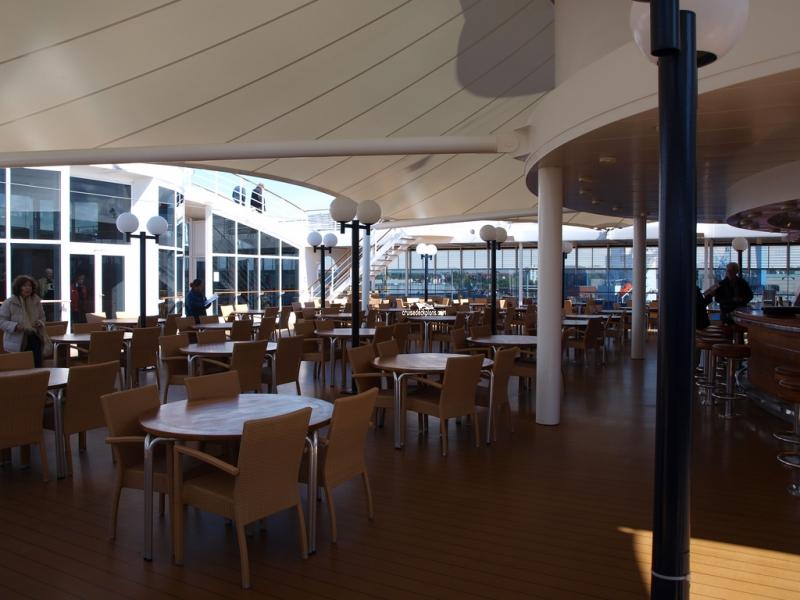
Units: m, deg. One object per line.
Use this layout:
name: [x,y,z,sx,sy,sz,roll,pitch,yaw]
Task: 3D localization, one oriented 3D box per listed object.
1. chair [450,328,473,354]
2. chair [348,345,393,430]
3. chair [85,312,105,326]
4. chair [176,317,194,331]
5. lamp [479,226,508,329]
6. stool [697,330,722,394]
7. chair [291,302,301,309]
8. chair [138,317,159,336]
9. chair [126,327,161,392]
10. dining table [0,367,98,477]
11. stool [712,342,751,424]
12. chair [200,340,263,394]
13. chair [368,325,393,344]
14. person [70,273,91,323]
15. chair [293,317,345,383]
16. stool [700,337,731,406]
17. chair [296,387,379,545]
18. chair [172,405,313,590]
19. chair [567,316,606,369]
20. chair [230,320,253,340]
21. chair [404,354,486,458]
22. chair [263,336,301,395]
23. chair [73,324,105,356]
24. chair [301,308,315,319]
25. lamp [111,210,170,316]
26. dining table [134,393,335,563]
chair: [0.964,0.631,10.308,0.313,0.526,0.304,3,4,43]
chair: [-0.312,1.082,8.302,0.660,0.995,0.700,-6,-1,2]
chair: [-6.206,0.394,13.698,0.214,0.294,0.222,0,0,25]
chair: [-4.057,0.449,12.706,0.254,0.336,0.243,-2,0,36]
lamp: [1.962,-0.264,14.385,0.685,2.644,0.394,2,-4,-19]
stool: [4.747,0.984,10.320,0.383,0.713,0.408,5,-3,-21]
chair: [-2.953,0.168,19.220,0.241,0.364,0.270,0,-3,-9]
chair: [-4.325,0.457,11.551,0.180,0.357,0.230,-1,18,-27]
chair: [-4.136,0.881,10.589,0.542,1.002,0.531,11,9,38]
dining table: [-3.562,1.363,7.368,1.056,1.377,1.075,-3,-3,34]
stool: [4.669,1.149,9.473,0.477,0.955,0.503,5,1,27]
chair: [-2.120,0.998,8.968,0.599,0.940,0.647,-3,-1,42]
chair: [-0.287,0.560,11.066,0.225,0.365,0.262,-3,10,-34]
person: [-7.617,-0.033,16.010,0.286,1.150,0.607,-1,8,-12]
chair: [-1.411,0.866,11.832,1.058,1.085,1.131,-2,-2,21]
stool: [4.786,1.114,10.235,0.429,0.794,0.410,5,12,-39]
chair: [-0.686,1.373,5.815,0.665,0.930,0.673,-23,6,-38]
chair: [-1.287,1.492,5.502,0.948,1.287,0.989,0,4,10]
chair: [3.576,0.758,13.047,0.742,0.959,0.788,-1,4,-3]
chair: [-2.804,0.531,12.051,0.324,0.536,0.324,-1,7,-37]
chair: [0.477,1.133,7.942,0.794,1.062,0.865,-1,4,-29]
chair: [-1.646,0.885,9.569,0.459,0.649,0.457,12,-6,-40]
chair: [-4.846,0.625,10.511,0.455,0.683,0.532,0,-2,-10]
chair: [-2.221,0.336,16.407,0.228,0.339,0.323,-2,3,-20]
lamp: [-4.623,-0.269,12.114,0.856,2.543,0.377,1,-2,-39]
dining table: [-1.376,1.518,5.730,1.201,0.874,1.261,5,8,31]
